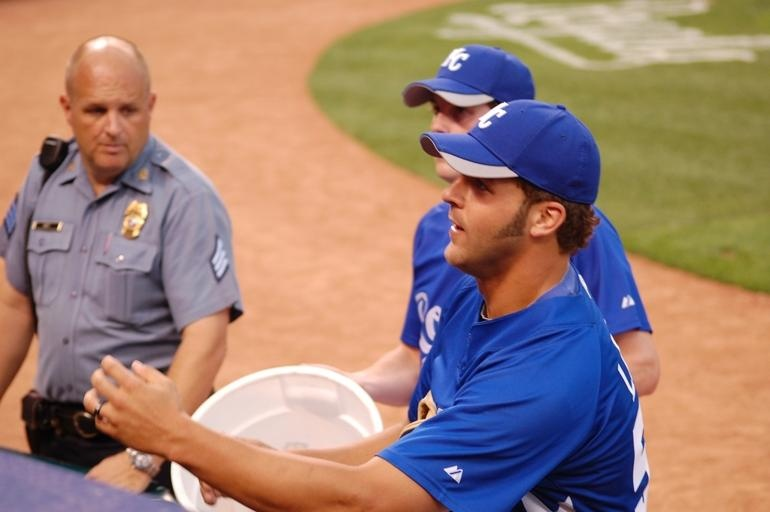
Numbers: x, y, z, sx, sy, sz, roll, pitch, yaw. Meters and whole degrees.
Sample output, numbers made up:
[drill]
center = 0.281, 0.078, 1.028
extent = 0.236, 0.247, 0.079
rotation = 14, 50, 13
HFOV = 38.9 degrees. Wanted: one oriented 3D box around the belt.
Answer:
[belt]
center = -2.071, 1.017, 6.869
extent = 0.381, 0.150, 0.301
rotation = 9, -9, -1
